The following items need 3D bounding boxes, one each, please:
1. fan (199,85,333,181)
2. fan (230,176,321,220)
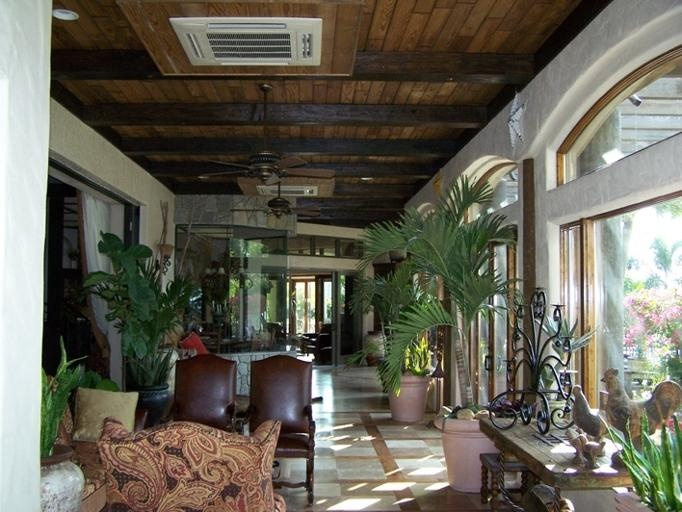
[{"bbox_3d":[-0.822,-1.294,5.173,1.329,0.870,1.211,-2,10,-23],"label":"fan"},{"bbox_3d":[-1.017,-0.984,8.043,1.282,0.658,1.514,1,12,-2],"label":"fan"}]
